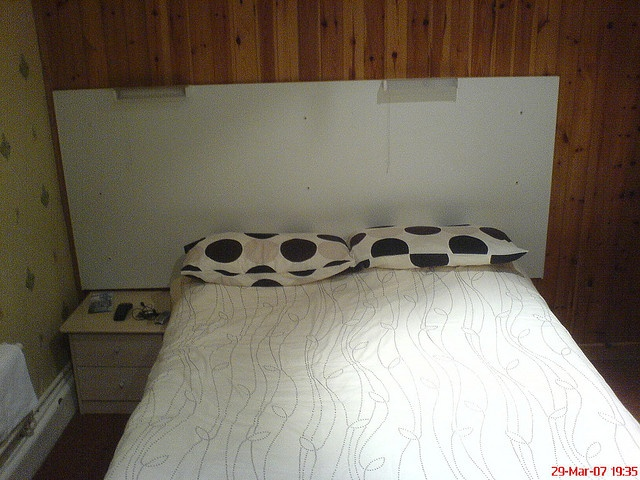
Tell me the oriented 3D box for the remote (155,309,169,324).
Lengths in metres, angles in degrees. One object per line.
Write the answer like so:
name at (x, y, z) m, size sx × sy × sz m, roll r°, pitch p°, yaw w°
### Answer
remote at (-0.938, 0.462, 2.964) m, size 0.047 × 0.084 × 0.021 m, roll 1°, pitch -69°, yaw 3°

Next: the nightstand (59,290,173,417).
nightstand at (-1.205, 0.670, 3.226) m, size 0.748 × 0.633 × 0.762 m, roll 0°, pitch -72°, yaw -4°

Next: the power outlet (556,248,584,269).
power outlet at (1.672, 0.128, 3.317) m, size 0.136 × 0.035 × 0.137 m, roll 0°, pitch -83°, yaw -3°
